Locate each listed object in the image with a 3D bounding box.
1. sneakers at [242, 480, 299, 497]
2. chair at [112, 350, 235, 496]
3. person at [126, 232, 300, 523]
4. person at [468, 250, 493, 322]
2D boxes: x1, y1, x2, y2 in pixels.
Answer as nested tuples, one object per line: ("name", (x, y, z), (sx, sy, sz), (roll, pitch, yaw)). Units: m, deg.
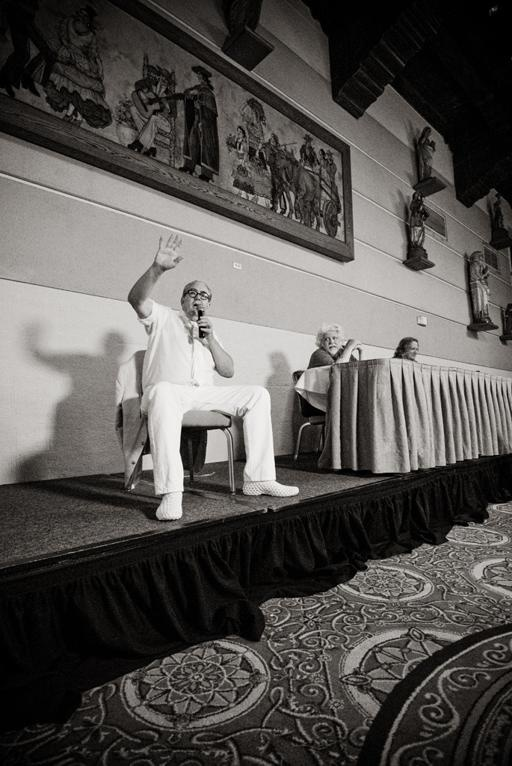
("sneakers", (0.066, 0.482, 2.412), (0.238, 0.102, 0.091), (-5, -13, 12))
("chair", (-0.391, 0.167, 2.591), (0.492, 0.680, 0.522), (5, 4, 36))
("person", (-0.242, -0.074, 2.359), (0.704, 1.168, 0.951), (-1, 2, 15))
("person", (3.160, -1.358, 7.567), (0.258, 1.062, 0.460), (0, 2, 22))
